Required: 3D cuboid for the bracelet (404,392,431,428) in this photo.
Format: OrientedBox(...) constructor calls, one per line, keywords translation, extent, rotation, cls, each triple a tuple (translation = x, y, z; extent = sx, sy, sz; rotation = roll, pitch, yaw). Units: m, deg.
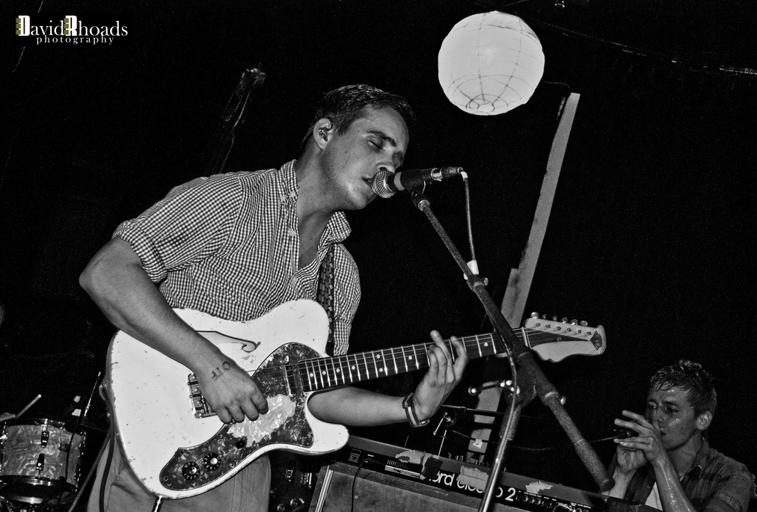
OrientedBox(translation=(0.247, 0.938, 3.965), extent=(0.069, 0.193, 0.158), rotation=(-6, -6, -31), cls="bracelet")
